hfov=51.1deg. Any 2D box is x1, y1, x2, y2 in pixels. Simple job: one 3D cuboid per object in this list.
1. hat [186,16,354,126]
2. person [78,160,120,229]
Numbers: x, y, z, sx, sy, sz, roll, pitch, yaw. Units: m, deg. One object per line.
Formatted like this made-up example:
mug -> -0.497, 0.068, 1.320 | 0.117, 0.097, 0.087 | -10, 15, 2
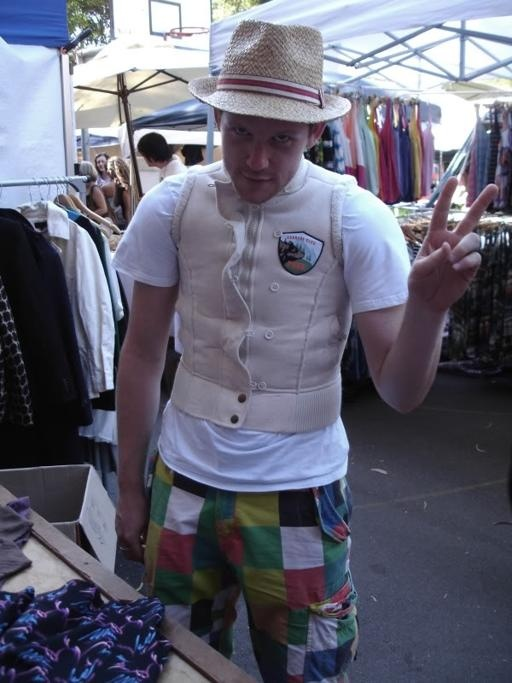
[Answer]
hat -> 0.018, -0.459, 0.906 | 0.280, 0.146, 0.321 | 3, 27, -7
person -> -1.679, -1.586, 5.598 | 0.249, 0.328, 0.994 | -25, 6, -11
